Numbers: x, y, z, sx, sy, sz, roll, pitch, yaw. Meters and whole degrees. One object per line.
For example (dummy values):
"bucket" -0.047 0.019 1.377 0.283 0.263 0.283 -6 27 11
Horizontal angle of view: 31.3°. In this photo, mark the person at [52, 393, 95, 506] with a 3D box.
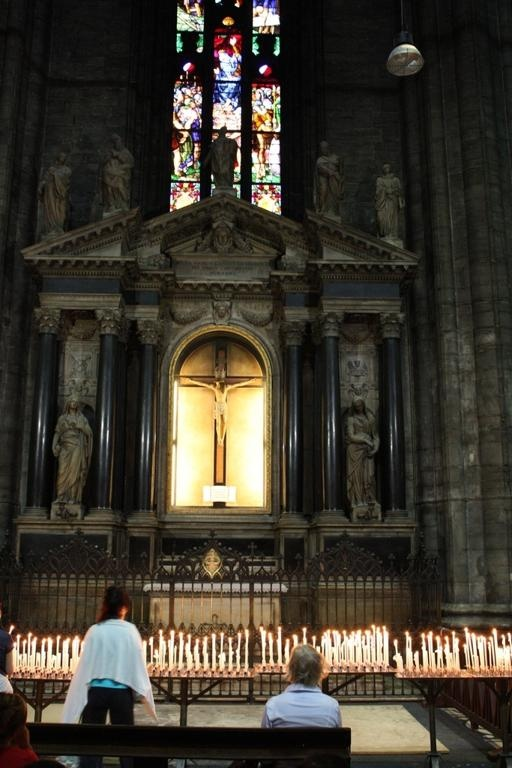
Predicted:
"person" -3.743 1.426 18.692 0.807 2.447 0.645 2 -13 -11

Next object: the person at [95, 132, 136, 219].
"person" -3.082 -4.511 20.095 0.717 1.937 0.591 1 -13 -7

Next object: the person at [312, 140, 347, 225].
"person" 1.580 -4.383 20.114 0.630 1.837 0.665 -2 -13 6

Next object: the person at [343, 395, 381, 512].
"person" 2.191 1.525 18.992 0.684 2.572 0.623 -2 -13 5

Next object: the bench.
"bench" -0.459 2.318 5.943 2.095 0.239 0.489 -4 -14 15

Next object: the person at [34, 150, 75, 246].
"person" -4.569 -4.101 20.422 1.187 2.126 0.608 -12 -18 42

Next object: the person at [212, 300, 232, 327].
"person" -0.759 -1.608 20.713 0.567 0.754 0.214 0 -5 -5
